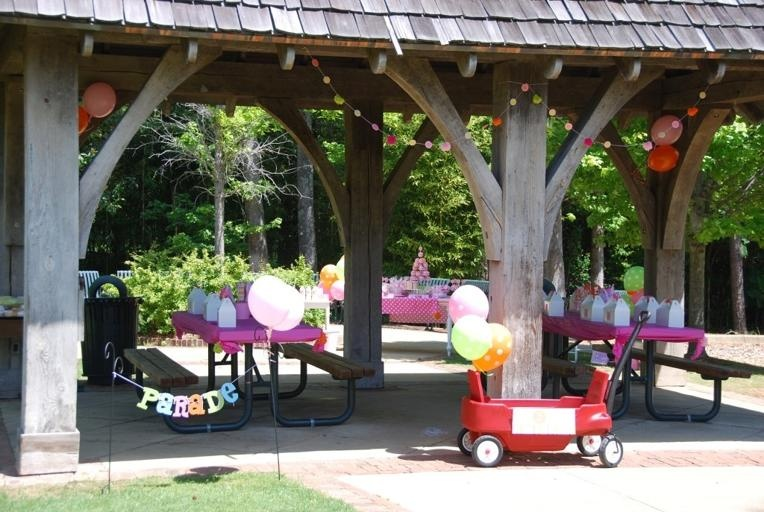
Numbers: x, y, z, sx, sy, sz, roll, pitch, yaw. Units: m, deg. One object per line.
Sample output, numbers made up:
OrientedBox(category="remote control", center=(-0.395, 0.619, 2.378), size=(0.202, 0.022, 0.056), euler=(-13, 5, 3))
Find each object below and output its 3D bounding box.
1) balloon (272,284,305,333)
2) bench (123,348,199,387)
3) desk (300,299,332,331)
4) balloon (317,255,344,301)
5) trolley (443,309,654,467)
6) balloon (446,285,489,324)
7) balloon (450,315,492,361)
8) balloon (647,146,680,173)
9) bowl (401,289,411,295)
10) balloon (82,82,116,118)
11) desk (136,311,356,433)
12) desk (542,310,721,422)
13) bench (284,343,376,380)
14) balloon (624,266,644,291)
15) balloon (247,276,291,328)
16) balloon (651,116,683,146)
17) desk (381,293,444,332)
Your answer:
OrientedBox(category="balloon", center=(-1.057, 0.639, 12.453), size=(0.389, 0.579, 0.433), euler=(6, 4, -18))
OrientedBox(category="bench", center=(-2.887, 1.615, 13.958), size=(0.450, 0.530, 2.017), euler=(0, 6, -24))
OrientedBox(category="desk", center=(-1.204, 1.155, 20.157), size=(0.505, 0.620, 0.579), euler=(-1, 1, -6))
OrientedBox(category="balloon", center=(-0.934, 0.447, 20.105), size=(0.413, 0.777, 1.730), euler=(0, -1, -6))
OrientedBox(category="trolley", center=(1.826, 1.956, 12.503), size=(2.029, 2.081, 1.918), euler=(1, -2, -3))
OrientedBox(category="balloon", center=(1.063, 0.672, 12.898), size=(0.483, 0.714, 0.533), euler=(-3, 4, 30))
OrientedBox(category="balloon", center=(1.018, 0.947, 12.520), size=(0.413, 0.576, 0.480), euler=(11, -42, -19))
OrientedBox(category="balloon", center=(4.033, -1.342, 15.420), size=(0.298, 0.376, 0.452), euler=(-5, -26, -16))
OrientedBox(category="bowl", center=(0.567, 0.838, 24.575), size=(0.143, 0.126, 0.092), euler=(-1, 7, 4))
OrientedBox(category="balloon", center=(-3.477, -1.893, 13.213), size=(0.389, 0.573, 0.419), euler=(5, -18, -20))
OrientedBox(category="desk", center=(-1.473, 1.476, 13.678), size=(2.401, 1.469, 2.363), euler=(1, -1, -11))
OrientedBox(category="desk", center=(3.480, 1.543, 15.137), size=(1.304, 1.318, 3.407), euler=(1, -5, -6))
OrientedBox(category="bench", center=(-0.879, 1.458, 14.762), size=(0.475, 0.255, 2.918), euler=(1, 2, -22))
OrientedBox(category="balloon", center=(4.001, 0.342, 17.082), size=(0.293, 0.457, 0.329), euler=(3, 7, 20))
OrientedBox(category="balloon", center=(-1.269, 0.523, 12.160), size=(0.503, 0.562, 0.508), euler=(-1, -2, 44))
OrientedBox(category="balloon", center=(3.989, -1.779, 14.979), size=(0.308, 0.408, 0.545), euler=(1, -1, -31))
OrientedBox(category="desk", center=(0.754, 1.249, 24.269), size=(1.298, 0.711, 3.472), euler=(1, -2, -29))
